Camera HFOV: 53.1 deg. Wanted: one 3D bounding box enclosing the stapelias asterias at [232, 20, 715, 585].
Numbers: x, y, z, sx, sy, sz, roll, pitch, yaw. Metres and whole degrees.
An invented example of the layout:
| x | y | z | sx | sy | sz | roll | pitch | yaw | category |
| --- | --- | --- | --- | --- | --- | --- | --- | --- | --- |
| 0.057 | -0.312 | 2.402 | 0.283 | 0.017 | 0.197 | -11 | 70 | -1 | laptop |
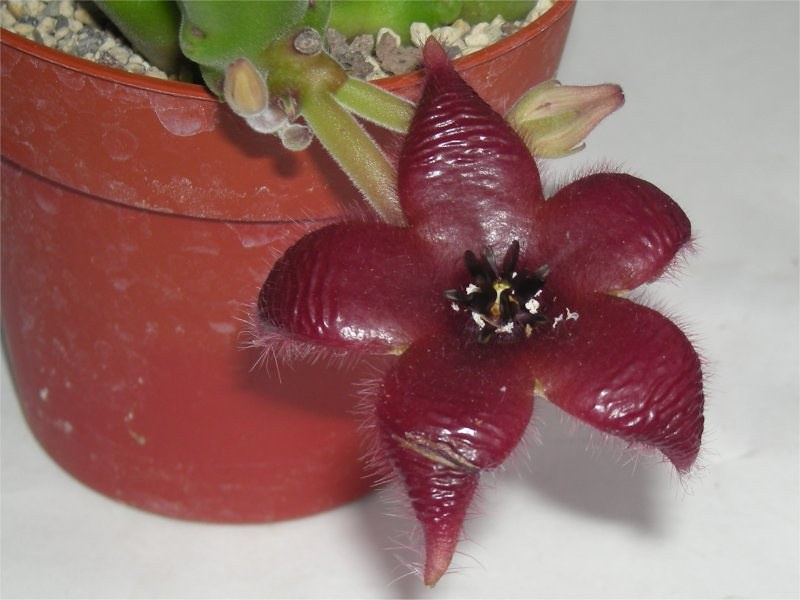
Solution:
| x | y | z | sx | sy | sz | roll | pitch | yaw | category |
| --- | --- | --- | --- | --- | --- | --- | --- | --- | --- |
| 0.072 | 0.003 | 0.566 | 0.289 | 0.250 | 0.281 | -34 | 49 | -22 | stapelias asterias |
